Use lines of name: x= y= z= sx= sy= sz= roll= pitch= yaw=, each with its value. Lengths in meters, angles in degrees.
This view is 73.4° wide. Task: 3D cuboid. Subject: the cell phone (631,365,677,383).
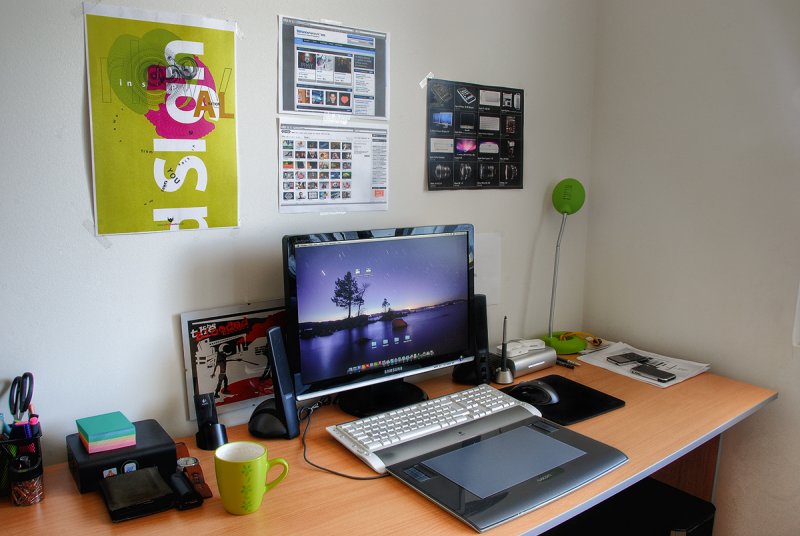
cell phone: x=0.968 y=0.402 z=2.056 sx=0.061 sy=0.014 sz=0.101 roll=-8 pitch=16 yaw=-39

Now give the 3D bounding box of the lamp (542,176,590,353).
lamp: x=0.727 y=-0.010 z=2.325 sx=0.234 sy=0.719 sz=0.170 roll=-5 pitch=4 yaw=-5

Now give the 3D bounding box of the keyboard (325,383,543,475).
keyboard: x=0.126 y=0.505 z=1.739 sx=0.650 sy=0.064 sz=0.299 roll=-10 pitch=21 yaw=-33

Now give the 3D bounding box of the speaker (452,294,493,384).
speaker: x=0.265 y=0.261 z=2.036 sx=0.178 sy=0.324 sz=0.170 roll=-6 pitch=10 yaw=-32

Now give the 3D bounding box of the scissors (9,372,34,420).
scissors: x=-1.054 y=0.359 z=1.486 sx=0.027 sy=0.128 sz=0.106 roll=9 pitch=6 yaw=-42

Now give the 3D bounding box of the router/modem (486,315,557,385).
router/modem: x=0.472 y=0.277 z=2.117 sx=0.286 sy=0.257 sz=0.199 roll=-17 pitch=22 yaw=-35
